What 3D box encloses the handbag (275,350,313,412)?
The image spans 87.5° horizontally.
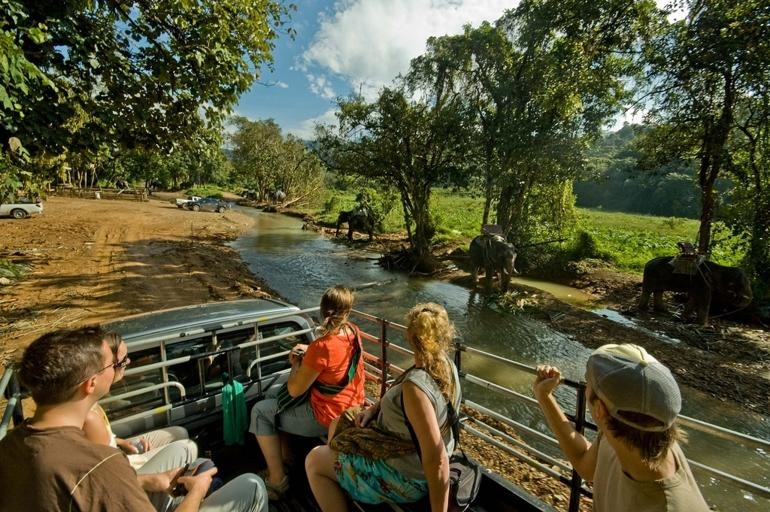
[{"bbox_3d":[-1.133,1.550,4.780,0.274,0.688,0.518,26,1,7],"label":"handbag"}]

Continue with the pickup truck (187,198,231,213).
[{"bbox_3d":[-16.064,-4.609,36.577,2.940,0.882,1.290,-8,20,-41],"label":"pickup truck"}]

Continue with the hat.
[{"bbox_3d":[2.093,1.070,3.562,0.638,0.499,0.819,3,34,6],"label":"hat"}]

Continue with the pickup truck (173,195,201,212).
[{"bbox_3d":[-17.419,-4.537,36.154,2.690,1.014,1.523,-17,29,-41],"label":"pickup truck"}]

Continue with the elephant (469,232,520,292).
[{"bbox_3d":[4.337,0.317,16.012,0.949,1.509,2.616,2,5,-9],"label":"elephant"}]

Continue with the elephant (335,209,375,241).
[{"bbox_3d":[-1.936,-2.159,27.289,1.785,2.175,3.471,3,11,-20],"label":"elephant"}]
